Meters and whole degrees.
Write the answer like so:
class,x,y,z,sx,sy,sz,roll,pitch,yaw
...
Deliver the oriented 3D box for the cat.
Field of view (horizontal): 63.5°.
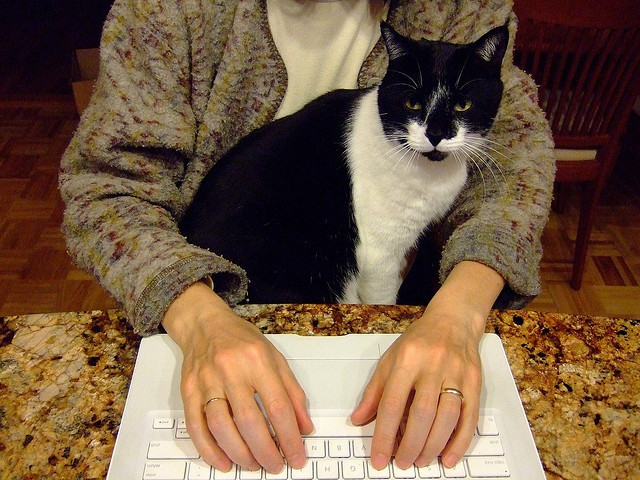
class,x,y,z,sx,sy,sz,roll,pitch,yaw
cat,0.049,-0.149,1.021,0.474,0.475,0.250,-5,37,-5
